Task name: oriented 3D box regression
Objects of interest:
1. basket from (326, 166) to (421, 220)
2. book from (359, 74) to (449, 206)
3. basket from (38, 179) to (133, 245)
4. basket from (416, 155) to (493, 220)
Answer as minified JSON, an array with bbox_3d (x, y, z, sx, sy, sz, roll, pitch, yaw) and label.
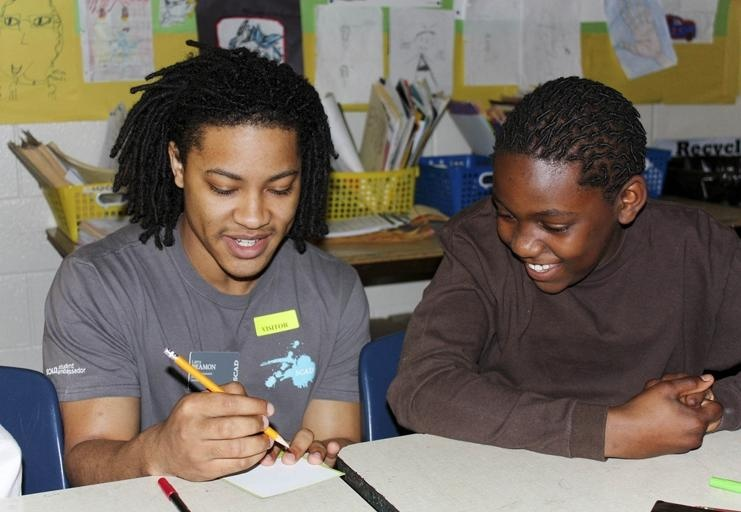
[{"bbox_3d":[0.015,-0.255,2.755,0.318,0.121,0.222,-3,7,-26],"label":"basket"},{"bbox_3d":[0.120,-0.471,2.828,0.281,0.589,0.491,-2,19,-23],"label":"book"},{"bbox_3d":[-1.088,-0.179,2.572,0.262,0.186,0.358,-5,8,-18],"label":"basket"},{"bbox_3d":[0.360,-0.318,3.025,0.287,0.228,0.397,-4,13,-16],"label":"basket"}]
